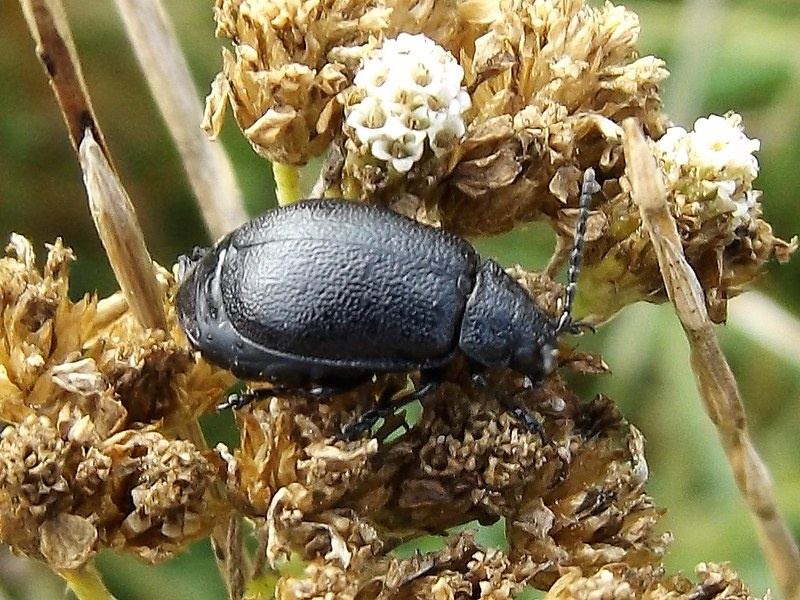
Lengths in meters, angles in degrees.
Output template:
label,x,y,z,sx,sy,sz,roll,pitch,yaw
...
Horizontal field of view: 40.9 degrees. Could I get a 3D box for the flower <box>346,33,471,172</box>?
label,x,y,z,sx,sy,sz,roll,pitch,yaw
flower,0.016,-0.420,2.292,0.240,0.153,0.296,11,85,-9

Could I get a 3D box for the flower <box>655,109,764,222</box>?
label,x,y,z,sx,sy,sz,roll,pitch,yaw
flower,0.681,-0.275,2.375,0.227,0.173,0.193,-7,50,-2
